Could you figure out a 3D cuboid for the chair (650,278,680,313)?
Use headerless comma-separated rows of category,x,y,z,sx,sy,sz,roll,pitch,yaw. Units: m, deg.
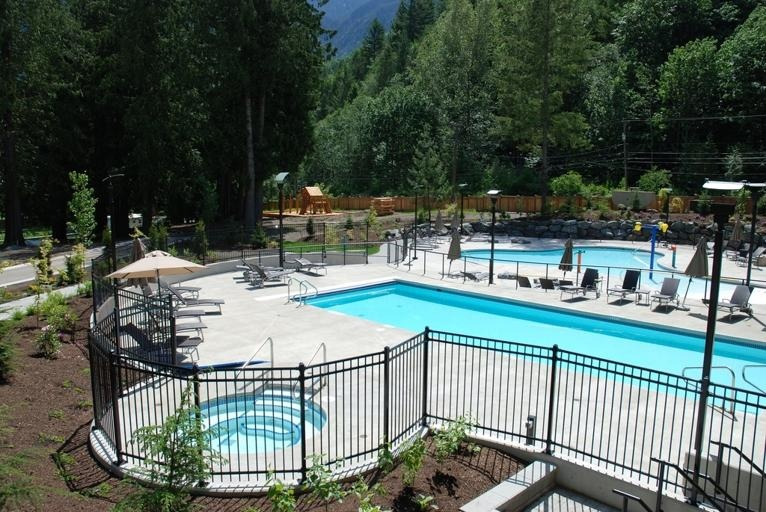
chair,13.069,1.720,30.940,1.222,1.338,1.497,1,8,16

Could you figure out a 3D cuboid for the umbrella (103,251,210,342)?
umbrella,-8.889,0.738,26.006,2.790,1.840,2.966,-8,10,-39

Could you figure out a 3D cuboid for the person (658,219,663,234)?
person,19.602,-2.025,47.304,0.410,0.922,0.688,9,18,20

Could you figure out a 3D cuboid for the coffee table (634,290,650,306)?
coffee table,12.374,2.001,31.993,0.676,0.717,0.705,-1,10,25

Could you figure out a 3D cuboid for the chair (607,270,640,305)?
chair,11.541,1.453,32.351,1.760,1.382,1.313,-12,10,-39

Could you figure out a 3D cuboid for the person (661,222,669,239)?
person,19.803,-1.754,47.073,0.348,1.150,0.781,7,7,18

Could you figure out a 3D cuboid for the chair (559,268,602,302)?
chair,9.684,1.399,33.094,2.150,1.652,1.304,-5,7,-33
